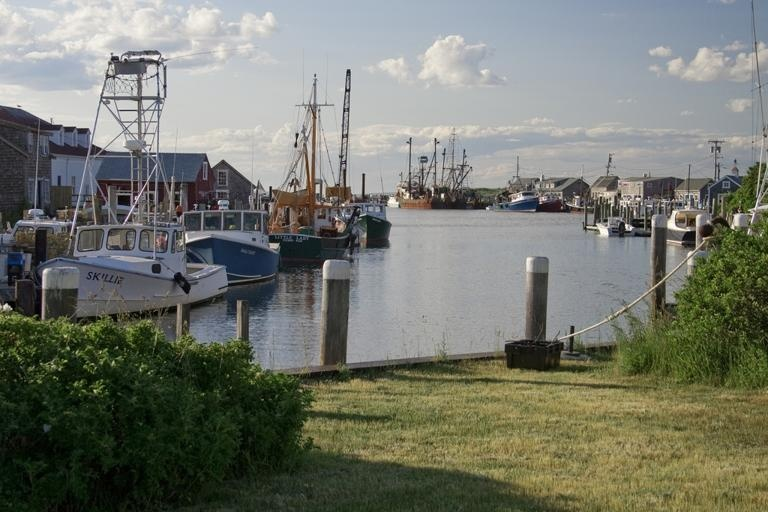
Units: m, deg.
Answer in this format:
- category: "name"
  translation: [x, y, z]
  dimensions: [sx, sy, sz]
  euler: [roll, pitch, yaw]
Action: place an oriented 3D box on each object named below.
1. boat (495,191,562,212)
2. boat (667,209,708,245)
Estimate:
- category: "boat"
  translation: [20.533, -7.376, 155.425]
  dimensions: [3.661, 3.208, 11.362]
  euler: [-2, 1, -27]
- category: "boat"
  translation: [17.307, -1.432, 63.219]
  dimensions: [1.429, 2.436, 4.258]
  euler: [1, 15, 10]
